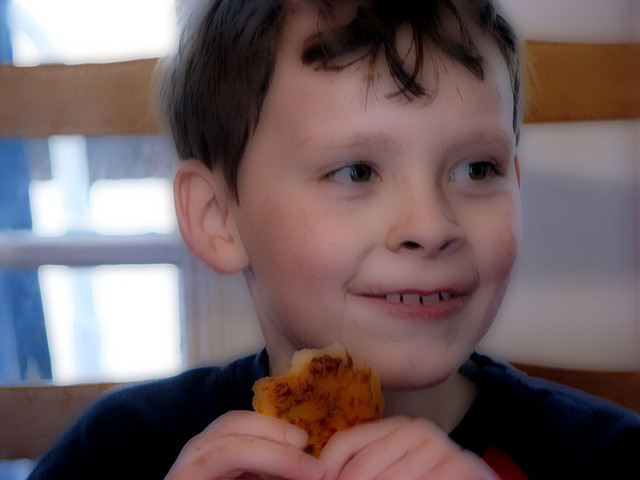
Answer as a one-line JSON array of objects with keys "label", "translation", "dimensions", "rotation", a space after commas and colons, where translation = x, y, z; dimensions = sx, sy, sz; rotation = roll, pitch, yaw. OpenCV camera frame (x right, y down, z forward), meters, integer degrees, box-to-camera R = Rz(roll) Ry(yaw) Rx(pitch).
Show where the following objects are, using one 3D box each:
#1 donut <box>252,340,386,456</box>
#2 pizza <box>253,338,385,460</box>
[{"label": "donut", "translation": [-0.004, 0.288, 1.390], "dimensions": [0.222, 0.111, 0.176], "rotation": [-28, 75, 10]}, {"label": "pizza", "translation": [-0.002, 0.279, 1.377], "dimensions": [0.179, 0.049, 0.228], "rotation": [7, 100, -20]}]
